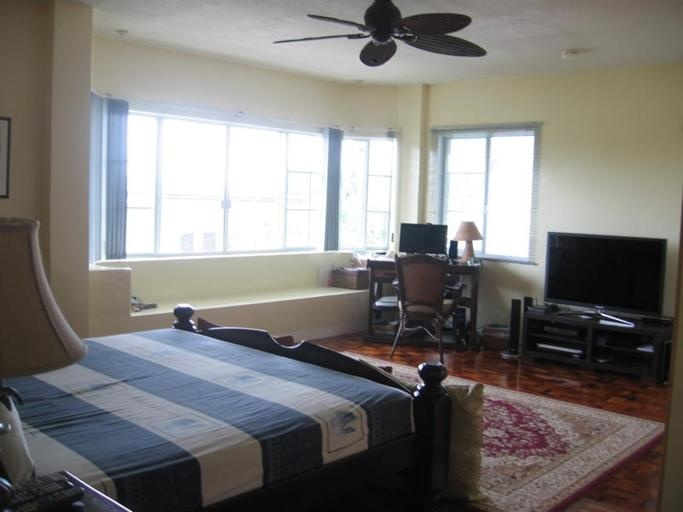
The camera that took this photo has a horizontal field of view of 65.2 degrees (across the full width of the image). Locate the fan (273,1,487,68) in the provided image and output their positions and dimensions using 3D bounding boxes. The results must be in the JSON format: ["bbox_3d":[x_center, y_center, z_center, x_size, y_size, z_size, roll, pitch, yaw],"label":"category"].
[{"bbox_3d":[0.511,-1.643,3.782,0.981,0.405,0.731,7,10,19],"label":"fan"}]

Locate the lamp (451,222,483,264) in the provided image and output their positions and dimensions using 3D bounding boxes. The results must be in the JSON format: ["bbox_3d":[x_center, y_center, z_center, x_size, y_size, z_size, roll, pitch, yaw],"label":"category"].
[{"bbox_3d":[1.499,-0.172,6.297,0.337,0.471,0.315,-5,7,-10],"label":"lamp"}]

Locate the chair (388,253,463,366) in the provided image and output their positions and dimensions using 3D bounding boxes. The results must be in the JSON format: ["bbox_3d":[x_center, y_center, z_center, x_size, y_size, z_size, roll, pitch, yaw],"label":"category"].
[{"bbox_3d":[0.883,0.504,5.715,0.685,1.094,0.723,3,8,12],"label":"chair"}]

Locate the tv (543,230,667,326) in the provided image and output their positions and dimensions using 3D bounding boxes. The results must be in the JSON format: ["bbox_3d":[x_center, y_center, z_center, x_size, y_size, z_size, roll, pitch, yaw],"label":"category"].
[{"bbox_3d":[2.719,0.234,5.422,0.985,0.685,0.092,6,7,36],"label":"tv"}]
